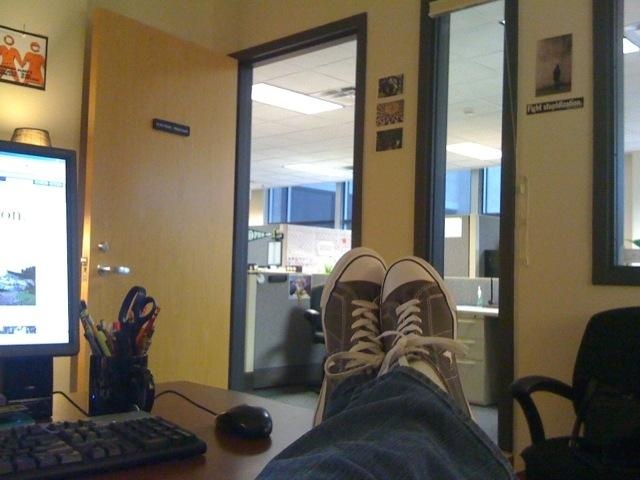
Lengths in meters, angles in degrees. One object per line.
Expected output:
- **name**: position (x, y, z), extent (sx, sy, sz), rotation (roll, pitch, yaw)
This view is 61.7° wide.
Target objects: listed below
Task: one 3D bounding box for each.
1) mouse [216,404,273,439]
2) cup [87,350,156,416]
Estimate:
- **mouse**: position (-0.123, 0.304, 0.915), extent (0.080, 0.030, 0.047), rotation (6, 0, 36)
- **cup**: position (-0.353, 0.267, 1.007), extent (0.131, 0.118, 0.078), rotation (1, -2, 27)
